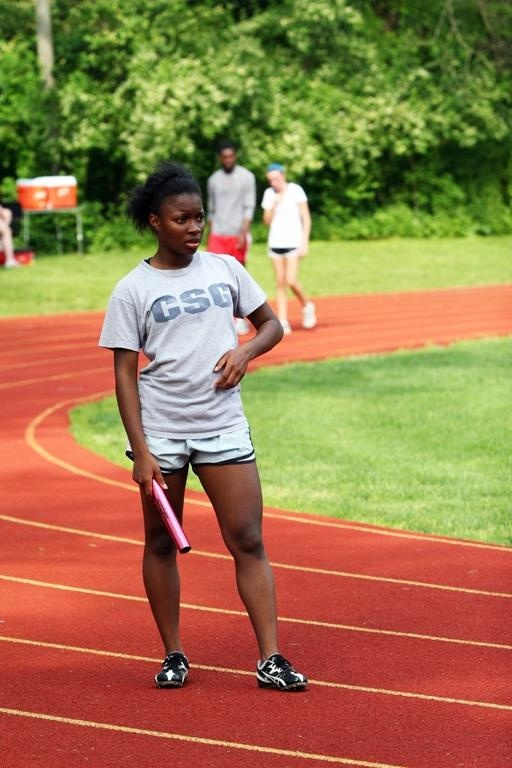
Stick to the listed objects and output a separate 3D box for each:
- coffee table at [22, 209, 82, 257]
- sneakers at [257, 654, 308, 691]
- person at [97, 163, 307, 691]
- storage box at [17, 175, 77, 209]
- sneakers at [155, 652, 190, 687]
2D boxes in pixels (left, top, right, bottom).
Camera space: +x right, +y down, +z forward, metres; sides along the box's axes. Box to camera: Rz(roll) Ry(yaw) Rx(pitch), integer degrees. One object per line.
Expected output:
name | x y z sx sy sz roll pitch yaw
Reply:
coffee table | -2.053 -1.515 9.549 0.557 0.494 0.741 -9 14 -33
sneakers | 0.036 0.818 2.749 0.198 0.082 0.082 -1 4 36
person | -0.134 0.130 2.722 0.607 1.485 0.333 3 10 3
storage box | -1.393 -1.243 6.227 0.382 0.175 0.335 -1 1 -1
sneakers | -0.255 0.835 2.778 0.063 0.060 0.142 -1 -7 1
